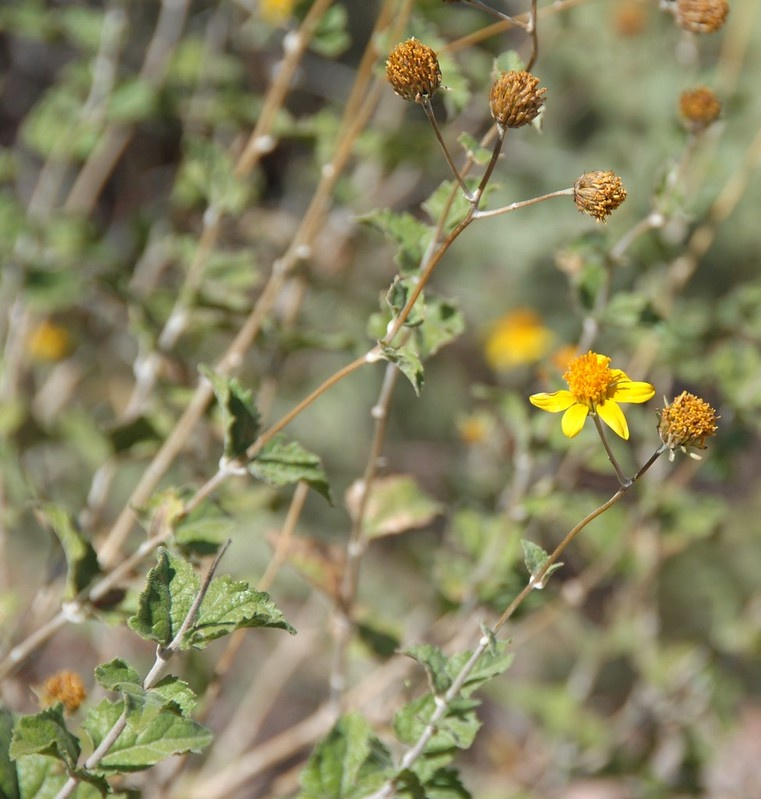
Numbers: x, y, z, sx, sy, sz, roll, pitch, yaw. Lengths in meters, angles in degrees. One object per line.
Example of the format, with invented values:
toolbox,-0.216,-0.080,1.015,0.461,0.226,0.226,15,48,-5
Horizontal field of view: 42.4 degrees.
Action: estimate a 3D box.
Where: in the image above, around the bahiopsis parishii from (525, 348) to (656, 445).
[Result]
bahiopsis parishii,0.284,0.000,1.329,0.133,0.135,0.070,54,3,39
